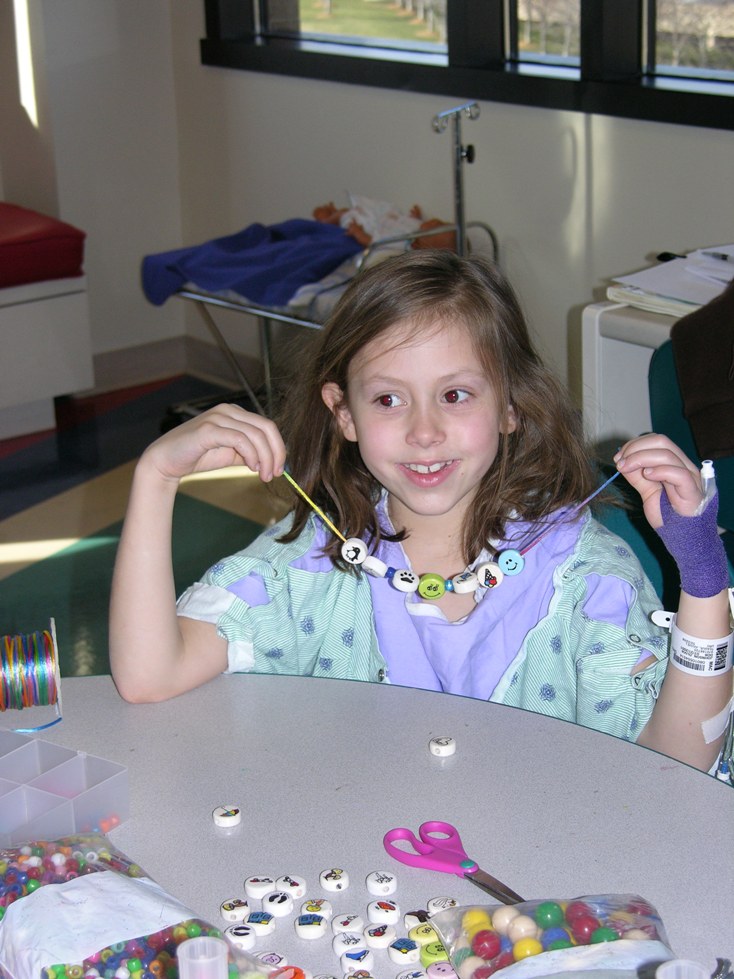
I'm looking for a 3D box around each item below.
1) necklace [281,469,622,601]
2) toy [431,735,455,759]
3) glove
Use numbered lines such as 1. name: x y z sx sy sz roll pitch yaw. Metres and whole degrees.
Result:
1. necklace: 0.079 0.061 1.049 0.352 0.146 0.178 0 15 14
2. toy: 0.061 0.212 0.730 0.015 0.008 0.016 0 12 4
3. glove: 0.304 0.058 0.905 0.069 0.100 0.083 -11 -36 7
